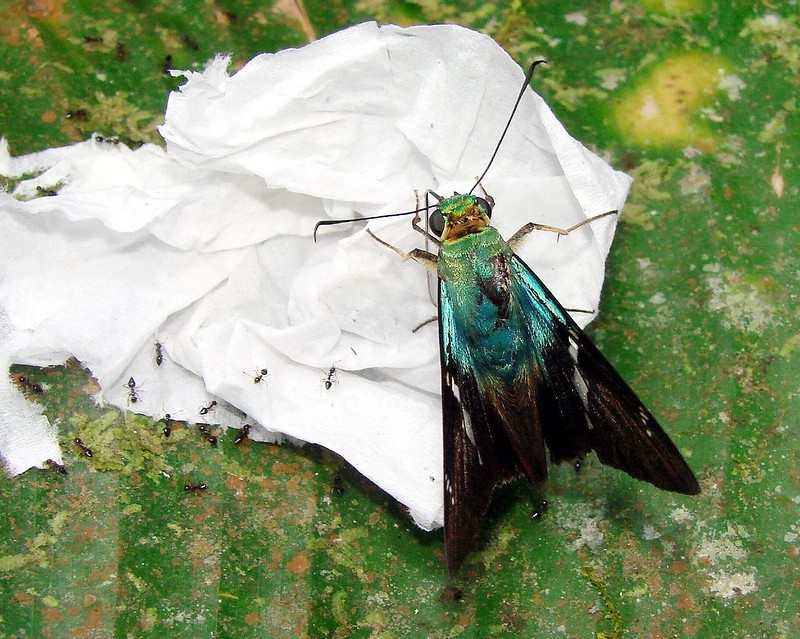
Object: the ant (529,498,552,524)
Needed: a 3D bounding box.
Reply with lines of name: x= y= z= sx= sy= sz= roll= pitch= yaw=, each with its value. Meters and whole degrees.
ant: x=0.335 y=0.457 z=2.345 sx=0.036 sy=0.014 sz=0.048 roll=35 pitch=83 yaw=-1
